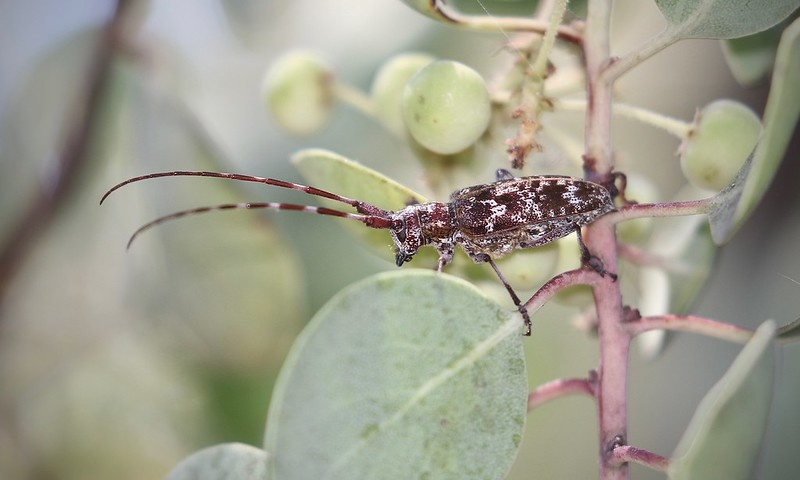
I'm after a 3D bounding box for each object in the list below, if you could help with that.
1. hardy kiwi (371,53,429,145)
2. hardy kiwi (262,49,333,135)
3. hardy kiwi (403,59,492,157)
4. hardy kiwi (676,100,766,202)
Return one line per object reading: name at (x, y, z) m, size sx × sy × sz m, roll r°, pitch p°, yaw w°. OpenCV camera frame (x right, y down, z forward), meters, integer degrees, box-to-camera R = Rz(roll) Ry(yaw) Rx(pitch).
hardy kiwi at (0.037, -0.496, 2.815) m, size 0.258 × 0.121 × 0.256 m, roll -12°, pitch -94°, yaw 27°
hardy kiwi at (-0.375, -0.520, 2.787) m, size 0.225 × 0.163 × 0.351 m, roll 4°, pitch -87°, yaw 38°
hardy kiwi at (0.133, -0.466, 2.732) m, size 0.286 × 0.145 × 0.285 m, roll 40°, pitch -86°, yaw -13°
hardy kiwi at (1.069, -0.317, 2.633) m, size 0.221 × 0.167 × 0.357 m, roll 1°, pitch -101°, yaw 5°
